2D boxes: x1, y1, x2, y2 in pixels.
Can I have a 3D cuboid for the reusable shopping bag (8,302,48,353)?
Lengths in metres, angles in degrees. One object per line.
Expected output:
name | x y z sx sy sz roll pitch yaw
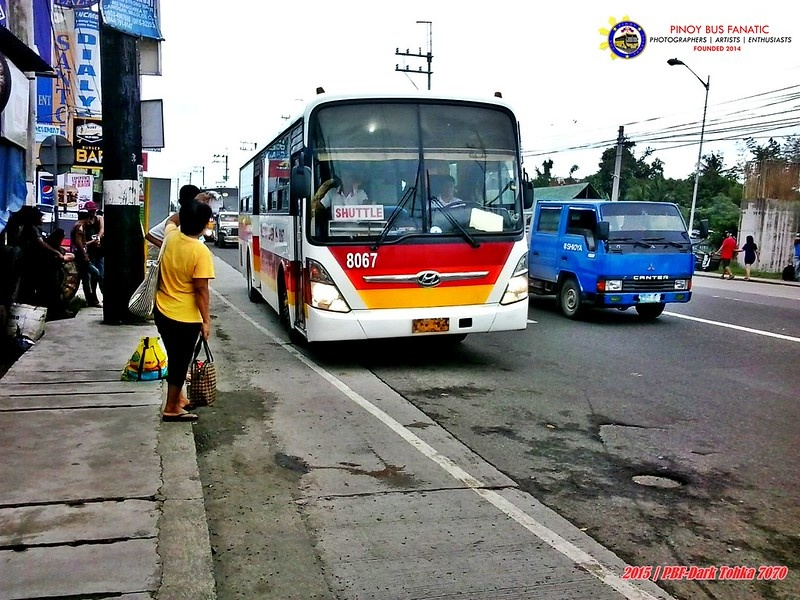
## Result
reusable shopping bag | -5.416 0.399 9.118 0.384 0.361 0.662 17 32 -19

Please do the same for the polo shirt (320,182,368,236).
polo shirt | -0.766 -1.208 8.375 0.637 1.094 0.329 0 -6 -9

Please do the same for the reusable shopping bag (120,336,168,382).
reusable shopping bag | -2.996 0.668 7.425 0.544 0.517 0.324 0 8 -30

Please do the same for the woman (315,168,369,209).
woman | -0.772 -1.422 8.588 0.700 0.661 0.424 0 8 -7

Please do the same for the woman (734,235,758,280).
woman | 15.507 -1.953 28.057 0.774 1.931 0.560 2 -4 20

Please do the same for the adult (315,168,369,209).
adult | -0.771 -1.432 8.587 0.700 0.661 0.424 0 8 -7

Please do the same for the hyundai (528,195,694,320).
hyundai | 4.470 -0.907 14.215 2.242 2.166 3.769 -1 1 -16

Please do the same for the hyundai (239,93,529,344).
hyundai | -0.361 -1.087 9.293 4.441 3.864 2.559 4 8 16

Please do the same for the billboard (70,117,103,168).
billboard | -14.671 -7.408 29.798 1.459 2.537 1.401 1 -14 -31

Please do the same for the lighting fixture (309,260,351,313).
lighting fixture | -0.954 -0.215 8.389 0.460 0.705 0.165 2 17 30

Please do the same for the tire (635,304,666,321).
tire | 5.503 0.247 13.856 0.123 0.345 0.322 -2 5 -39

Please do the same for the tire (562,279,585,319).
tire | 3.700 -0.050 13.407 0.257 0.849 0.713 -1 8 -19

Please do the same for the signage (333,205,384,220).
signage | -0.555 -1.175 8.374 0.676 0.229 0.072 1 7 -7

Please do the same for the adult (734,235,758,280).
adult | 15.520 -1.963 28.116 0.769 1.927 0.686 2 -2 17

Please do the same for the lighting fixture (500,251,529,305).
lighting fixture | 1.660 -0.293 9.017 0.493 0.683 0.245 -1 -20 38

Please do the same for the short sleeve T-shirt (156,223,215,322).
short sleeve T-shirt | -2.043 -0.241 5.975 0.615 0.891 0.236 3 7 9
